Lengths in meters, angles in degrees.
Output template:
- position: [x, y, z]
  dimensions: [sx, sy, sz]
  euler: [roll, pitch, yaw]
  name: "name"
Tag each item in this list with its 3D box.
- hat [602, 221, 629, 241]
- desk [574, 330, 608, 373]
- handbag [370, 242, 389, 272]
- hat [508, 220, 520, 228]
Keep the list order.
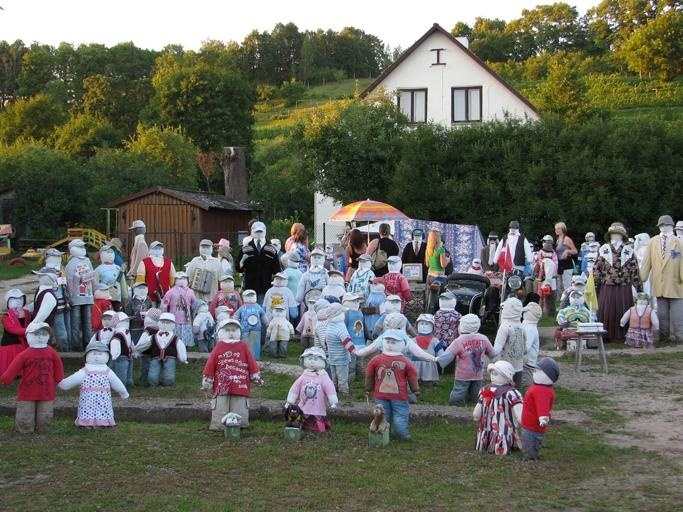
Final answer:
- position: [9.738, -0.987, 48.878]
  dimensions: [0.585, 0.440, 0.657]
  euler: [3, -16, 29]
  name: "hat"
- position: [8.397, 3.049, 47.046]
  dimensions: [0.937, 1.434, 1.127]
  euler: [-3, 11, 11]
  name: "desk"
- position: [1.337, -0.123, 49.292]
  dimensions: [0.742, 1.650, 1.162]
  euler: [0, -3, 2]
  name: "handbag"
- position: [6.216, -1.188, 50.164]
  dimensions: [0.270, 0.315, 0.362]
  euler: [2, -5, 1]
  name: "hat"
